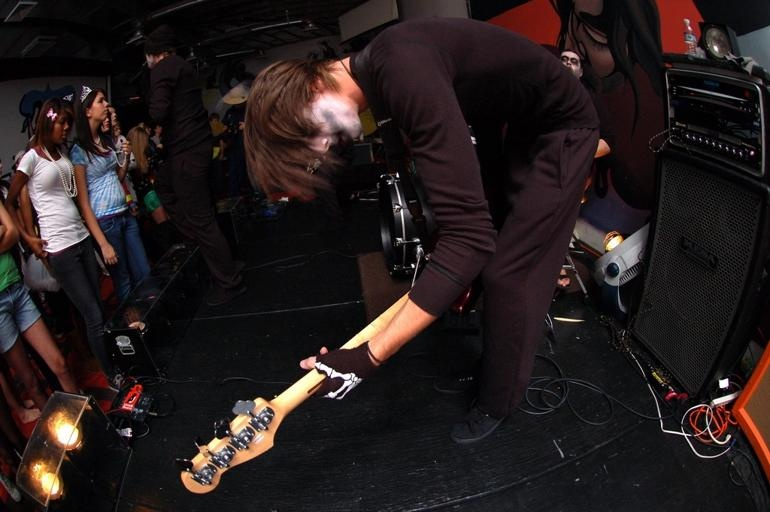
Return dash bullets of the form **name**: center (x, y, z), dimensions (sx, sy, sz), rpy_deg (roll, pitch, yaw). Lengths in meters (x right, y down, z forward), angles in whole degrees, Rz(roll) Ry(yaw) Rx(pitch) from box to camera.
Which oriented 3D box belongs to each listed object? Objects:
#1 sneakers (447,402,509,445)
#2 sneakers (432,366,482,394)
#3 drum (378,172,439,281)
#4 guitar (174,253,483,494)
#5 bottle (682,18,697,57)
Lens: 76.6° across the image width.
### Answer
- **sneakers**: center (0.551, 1.069, 3.086), dimensions (0.427, 0.160, 0.173), rpy_deg (-32, 52, 8)
- **sneakers**: center (0.496, 0.861, 3.309), dimensions (0.350, 0.096, 0.137), rpy_deg (-16, 37, 10)
- **drum**: center (0.167, -0.229, 3.543), dimensions (0.341, 0.779, 0.764), rpy_deg (-9, 12, -10)
- **guitar**: center (-0.382, 0.833, 3.272), dimensions (1.721, 0.276, 0.222), rpy_deg (-46, 37, 4)
- **bottle**: center (1.976, -1.432, 3.170), dimensions (0.095, 0.213, 0.478), rpy_deg (6, 27, 29)
